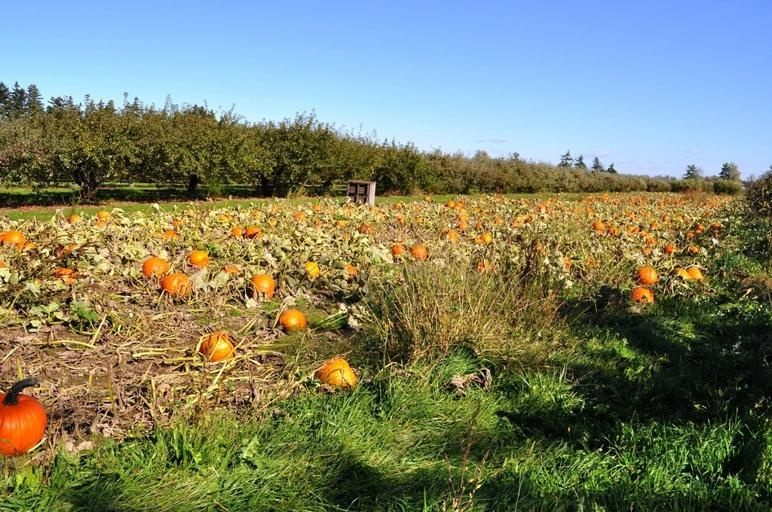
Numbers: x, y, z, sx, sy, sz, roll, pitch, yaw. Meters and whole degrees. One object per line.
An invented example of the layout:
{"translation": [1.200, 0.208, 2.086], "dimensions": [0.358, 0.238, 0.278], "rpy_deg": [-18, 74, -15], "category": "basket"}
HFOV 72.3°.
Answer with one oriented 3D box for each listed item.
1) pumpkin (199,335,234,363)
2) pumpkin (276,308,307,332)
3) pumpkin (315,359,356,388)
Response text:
{"translation": [-1.507, 0.828, 4.739], "dimensions": [0.306, 0.238, 0.361], "rpy_deg": [4, 12, -19], "category": "pumpkin"}
{"translation": [-0.949, 0.669, 5.407], "dimensions": [0.296, 0.181, 0.266], "rpy_deg": [6, 11, -8], "category": "pumpkin"}
{"translation": [-0.425, 1.025, 4.616], "dimensions": [0.375, 0.171, 0.299], "rpy_deg": [7, 11, -7], "category": "pumpkin"}
